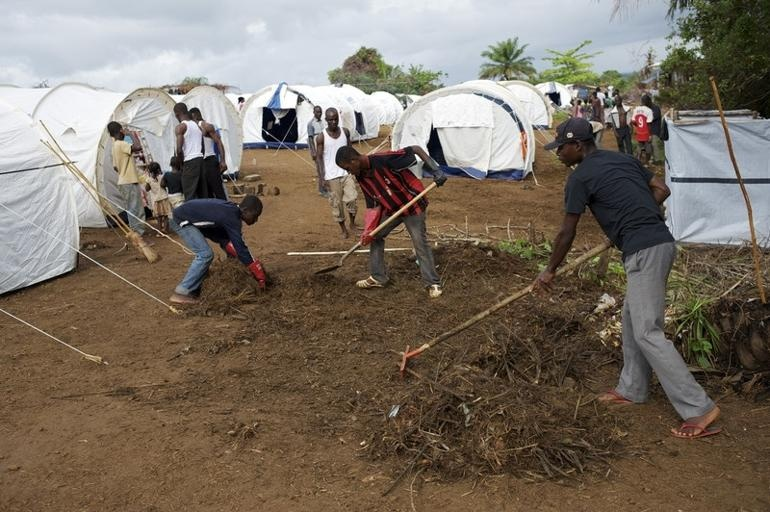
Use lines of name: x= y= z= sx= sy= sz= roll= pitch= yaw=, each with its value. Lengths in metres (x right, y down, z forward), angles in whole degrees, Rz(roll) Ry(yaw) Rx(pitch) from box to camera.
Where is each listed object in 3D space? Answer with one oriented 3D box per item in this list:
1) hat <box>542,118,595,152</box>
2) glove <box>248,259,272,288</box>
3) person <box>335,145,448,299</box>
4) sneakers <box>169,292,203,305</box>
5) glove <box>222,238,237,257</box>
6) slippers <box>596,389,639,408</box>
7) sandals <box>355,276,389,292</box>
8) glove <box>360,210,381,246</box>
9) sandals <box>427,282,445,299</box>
hat: x=1.694 y=-1.149 z=5.319 sx=0.517 sy=0.227 sz=0.311 roll=-12 pitch=14 yaw=23
glove: x=-1.560 y=0.205 z=7.226 sx=0.235 sy=0.374 sz=0.137 roll=-28 pitch=18 yaw=25
person: x=0.133 y=-0.436 z=7.076 sx=1.186 sy=1.892 sz=0.509 roll=-1 pitch=24 yaw=16
sneakers: x=-2.519 y=0.529 z=7.211 sx=0.468 sy=0.173 sz=0.147 roll=-3 pitch=2 yaw=-3
glove: x=-1.969 y=-0.078 z=7.319 sx=0.207 sy=0.268 sz=0.086 roll=10 pitch=58 yaw=9
slippers: x=2.181 y=1.335 z=5.365 sx=0.350 sy=0.081 sz=0.130 roll=2 pitch=4 yaw=13
sandals: x=-0.183 y=0.357 z=7.328 sx=0.386 sy=0.146 sz=0.162 roll=3 pitch=8 yaw=-2
glove: x=-0.172 y=-0.390 z=7.107 sx=0.189 sy=0.504 sz=0.172 roll=9 pitch=6 yaw=-13
sandals: x=0.624 y=0.424 z=7.165 sx=0.163 sy=0.187 sz=0.202 roll=0 pitch=-9 yaw=-1
